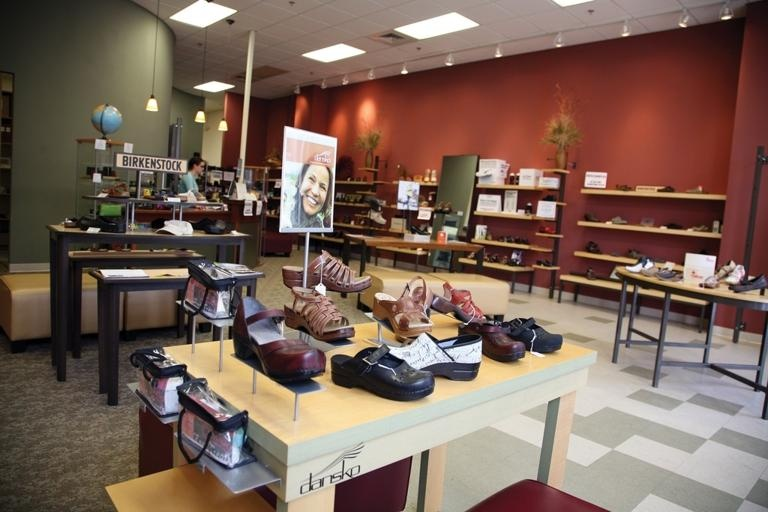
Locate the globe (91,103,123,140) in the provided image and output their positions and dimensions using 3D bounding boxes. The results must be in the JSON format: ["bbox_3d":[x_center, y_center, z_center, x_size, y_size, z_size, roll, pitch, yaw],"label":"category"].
[{"bbox_3d":[-3.850,-1.832,7.156,0.413,0.468,0.410,7,23,-26],"label":"globe"}]

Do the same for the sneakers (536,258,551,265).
[{"bbox_3d":[2.946,0.120,9.674,0.101,0.099,0.267,1,-2,-34],"label":"sneakers"}]

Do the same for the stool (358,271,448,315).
[{"bbox_3d":[0.146,0.360,7.089,1.192,0.556,0.670,0,6,-31],"label":"stool"}]

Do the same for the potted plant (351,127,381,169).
[{"bbox_3d":[-0.370,-2.585,12.456,0.654,0.886,0.625,6,4,-19],"label":"potted plant"}]

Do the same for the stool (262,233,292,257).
[{"bbox_3d":[-2.509,-0.260,11.974,0.626,0.406,0.645,2,9,-38],"label":"stool"}]

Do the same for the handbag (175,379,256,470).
[{"bbox_3d":[-0.890,0.885,2.768,0.448,0.311,0.263,16,19,37],"label":"handbag"}]

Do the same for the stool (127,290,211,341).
[{"bbox_3d":[-2.437,0.602,5.683,0.888,0.562,0.468,-3,5,-41],"label":"stool"}]

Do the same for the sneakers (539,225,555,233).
[{"bbox_3d":[3.047,-0.493,9.606,0.344,0.130,0.119,3,16,6],"label":"sneakers"}]

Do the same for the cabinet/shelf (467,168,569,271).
[{"bbox_3d":[2.617,-0.670,9.903,0.613,1.827,1.988,-3,7,-45],"label":"cabinet/shelf"}]

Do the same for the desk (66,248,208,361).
[{"bbox_3d":[-2.379,0.445,4.852,1.083,0.718,0.538,-4,12,-37],"label":"desk"}]

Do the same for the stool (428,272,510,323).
[{"bbox_3d":[0.951,0.563,7.515,1.413,0.630,1.023,3,7,-21],"label":"stool"}]

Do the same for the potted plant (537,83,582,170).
[{"bbox_3d":[3.198,-2.247,9.373,0.692,1.332,0.656,9,20,27],"label":"potted plant"}]

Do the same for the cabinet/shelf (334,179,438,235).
[{"bbox_3d":[-0.290,-1.173,12.543,0.756,1.493,3.296,-10,18,-41],"label":"cabinet/shelf"}]

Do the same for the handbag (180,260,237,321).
[{"bbox_3d":[-1.059,0.207,3.138,0.305,0.327,0.240,-3,15,-20],"label":"handbag"}]

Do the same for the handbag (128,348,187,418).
[{"bbox_3d":[-1.335,0.728,3.100,0.260,0.297,0.512,1,3,-45],"label":"handbag"}]
